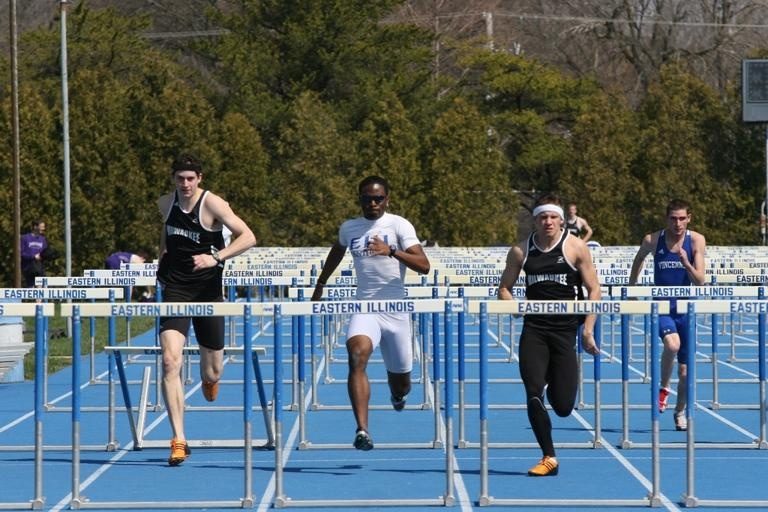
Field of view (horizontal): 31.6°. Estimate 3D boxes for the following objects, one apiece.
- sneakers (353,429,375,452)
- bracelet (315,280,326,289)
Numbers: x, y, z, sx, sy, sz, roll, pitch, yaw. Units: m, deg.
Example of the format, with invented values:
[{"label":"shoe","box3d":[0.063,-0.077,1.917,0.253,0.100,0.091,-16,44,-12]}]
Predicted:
[{"label":"sneakers","box3d":[-0.390,3.637,26.859,0.267,0.266,0.512,-6,-39,9]},{"label":"bracelet","box3d":[-1.307,0.555,27.672,0.152,0.139,0.143,-3,-3,7]}]
